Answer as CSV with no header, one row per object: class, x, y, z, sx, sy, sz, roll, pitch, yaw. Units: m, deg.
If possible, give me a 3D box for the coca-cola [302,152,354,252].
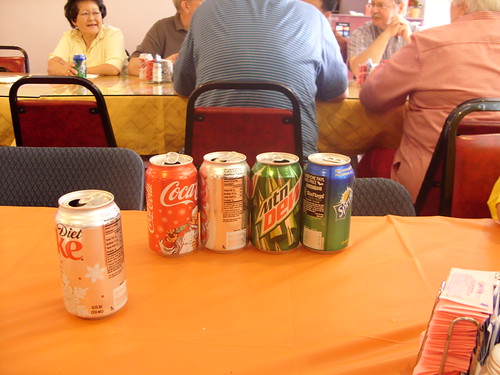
coca-cola,0.152,0.030,0.819,0.098,0.170,0.098,5,15,13
